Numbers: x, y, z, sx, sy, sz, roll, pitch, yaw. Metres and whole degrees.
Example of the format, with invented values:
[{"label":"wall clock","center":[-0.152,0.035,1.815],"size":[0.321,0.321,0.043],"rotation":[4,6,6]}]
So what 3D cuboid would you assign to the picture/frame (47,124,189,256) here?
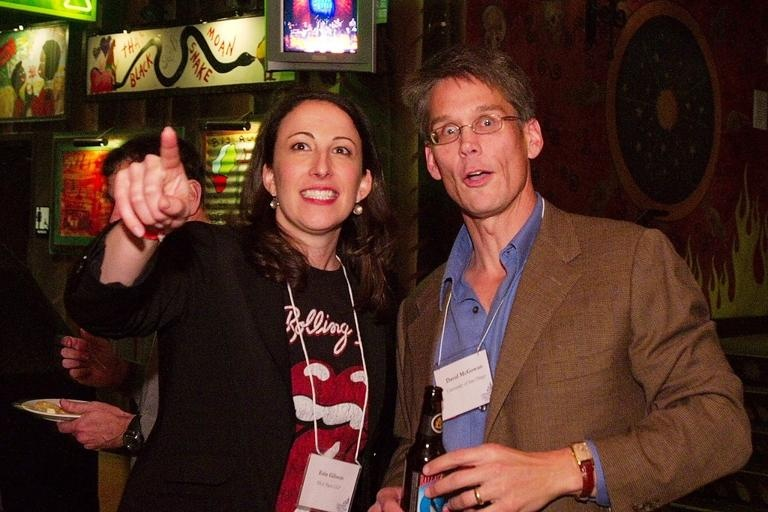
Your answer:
[{"label":"picture/frame","center":[-1.758,-0.451,4.209],"size":[1.117,1.091,0.089],"rotation":[0,-2,10]}]
